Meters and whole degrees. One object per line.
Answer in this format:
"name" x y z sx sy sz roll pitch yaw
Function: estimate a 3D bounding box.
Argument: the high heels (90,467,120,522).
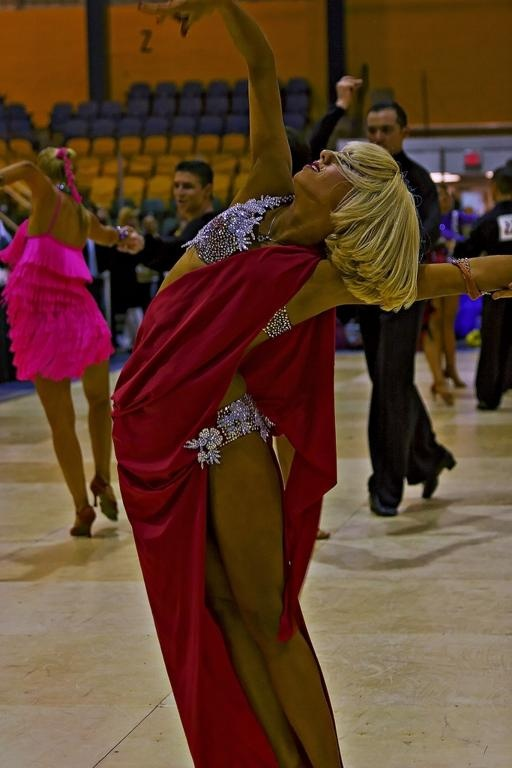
"high heels" -0.811 0.576 4.003 0.146 0.275 0.112 -4 0 8

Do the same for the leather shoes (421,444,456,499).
"leather shoes" 1.011 0.497 4.251 0.107 0.287 0.229 40 16 23
